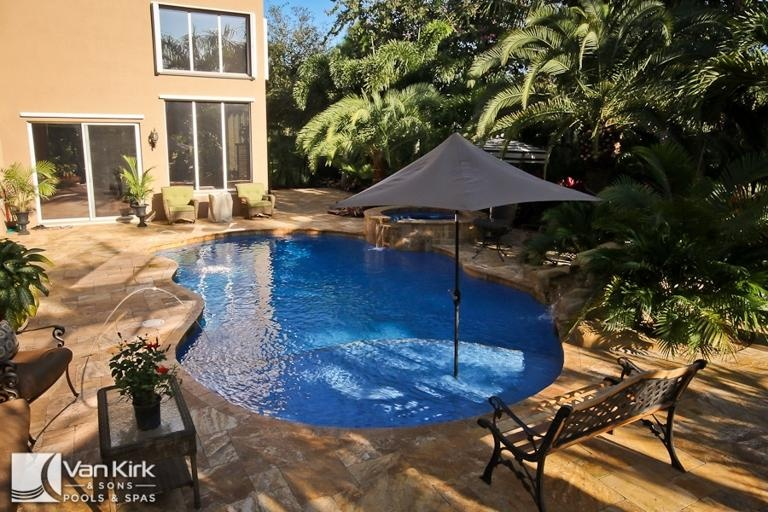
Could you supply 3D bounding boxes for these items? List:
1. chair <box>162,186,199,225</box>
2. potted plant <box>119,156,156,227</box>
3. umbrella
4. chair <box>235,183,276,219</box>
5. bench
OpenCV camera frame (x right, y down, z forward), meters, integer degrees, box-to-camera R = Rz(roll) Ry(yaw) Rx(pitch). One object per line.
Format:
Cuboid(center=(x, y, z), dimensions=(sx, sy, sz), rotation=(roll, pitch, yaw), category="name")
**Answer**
Cuboid(center=(-7.498, -1.884, 16.356), dimensions=(1.076, 1.345, 1.054), rotation=(-7, 11, -25), category="chair")
Cuboid(center=(-8.891, -2.381, 16.147), dimensions=(0.979, 2.530, 1.330), rotation=(-9, 13, -33), category="potted plant")
Cuboid(center=(1.356, -0.010, 7.612), dimensions=(4.275, 3.432, 4.005), rotation=(6, 17, 24), category="umbrella")
Cuboid(center=(-4.806, -2.199, 17.653), dimensions=(1.394, 1.424, 1.664), rotation=(-10, 17, -39), category="chair")
Cuboid(center=(2.115, 1.717, 4.717), dimensions=(2.198, 1.272, 1.078), rotation=(-7, 11, -27), category="bench")
